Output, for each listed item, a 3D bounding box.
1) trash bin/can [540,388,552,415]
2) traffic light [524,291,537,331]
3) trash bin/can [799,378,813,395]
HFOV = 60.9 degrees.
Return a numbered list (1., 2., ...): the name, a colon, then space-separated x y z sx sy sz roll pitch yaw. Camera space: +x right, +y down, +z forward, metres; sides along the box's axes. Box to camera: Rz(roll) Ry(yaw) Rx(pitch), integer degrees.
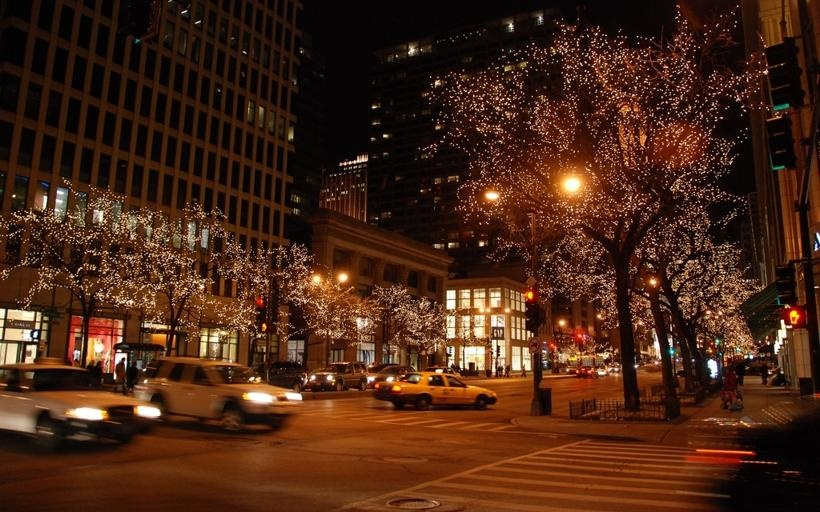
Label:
1. trash bin/can: 7.956 8.566 41.034 0.523 1.622 0.967 -8 -16 23
2. traffic light: 7.049 3.128 40.585 0.639 2.370 0.570 -4 -15 10
3. trash bin/can: 26.135 8.555 46.070 0.707 1.205 2.603 -8 -17 25
